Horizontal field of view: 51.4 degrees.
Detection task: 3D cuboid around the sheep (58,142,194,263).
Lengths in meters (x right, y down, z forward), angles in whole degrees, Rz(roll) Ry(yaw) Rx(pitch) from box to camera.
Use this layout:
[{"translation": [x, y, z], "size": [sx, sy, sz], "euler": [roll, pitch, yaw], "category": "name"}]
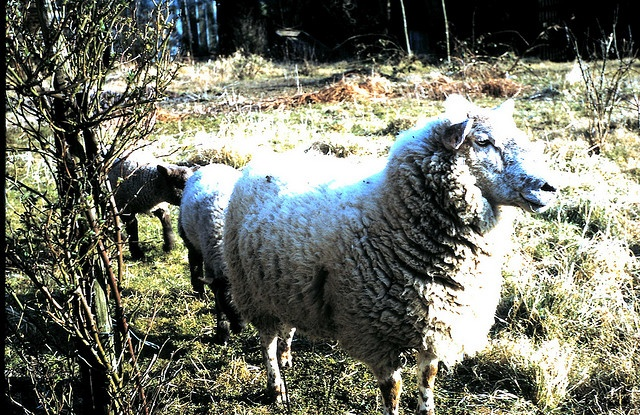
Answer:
[{"translation": [-2.579, -0.017, 10.198], "size": [1.143, 1.643, 1.434], "euler": [-5, 4, -18], "category": "sheep"}]
